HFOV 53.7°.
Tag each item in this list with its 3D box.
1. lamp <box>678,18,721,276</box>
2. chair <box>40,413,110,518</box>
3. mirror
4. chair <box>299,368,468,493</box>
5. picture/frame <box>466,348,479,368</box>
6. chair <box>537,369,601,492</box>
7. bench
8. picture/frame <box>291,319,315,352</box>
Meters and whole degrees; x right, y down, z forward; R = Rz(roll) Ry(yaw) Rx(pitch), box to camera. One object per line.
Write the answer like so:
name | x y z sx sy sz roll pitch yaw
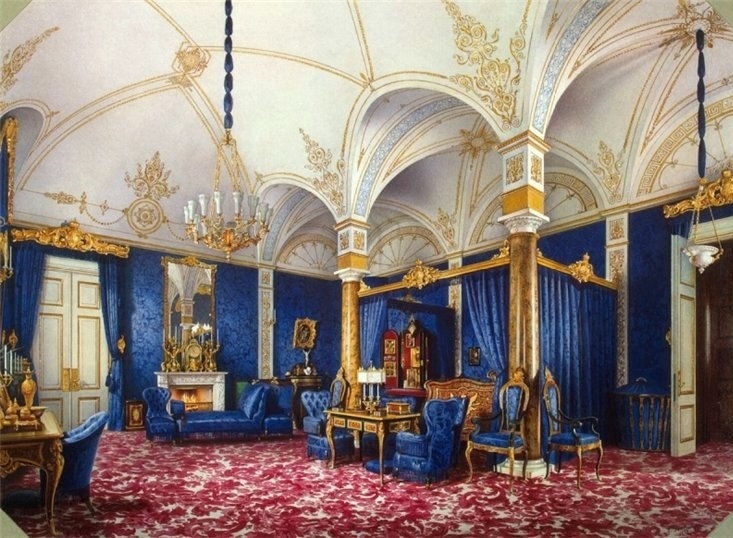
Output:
lamp | 5.583 -1.853 11.999 0.533 4.007 2.049 2 7 26
chair | -4.073 2.662 10.403 1.026 1.564 1.276 4 -9 -26
mirror | -3.967 1.009 16.098 1.127 2.447 0.959 -2 6 -18
chair | 0.518 2.596 12.163 2.095 1.528 2.868 -6 8 -44
picture/frame | 2.244 1.835 15.120 0.145 0.439 0.381 -4 7 -33
chair | 3.259 2.408 11.421 0.957 1.639 1.540 4 7 39
bench | 1.496 2.281 11.605 0.120 0.853 0.970 13 -14 -32
picture/frame | -1.616 1.652 18.102 0.087 0.807 0.676 -6 -10 39
